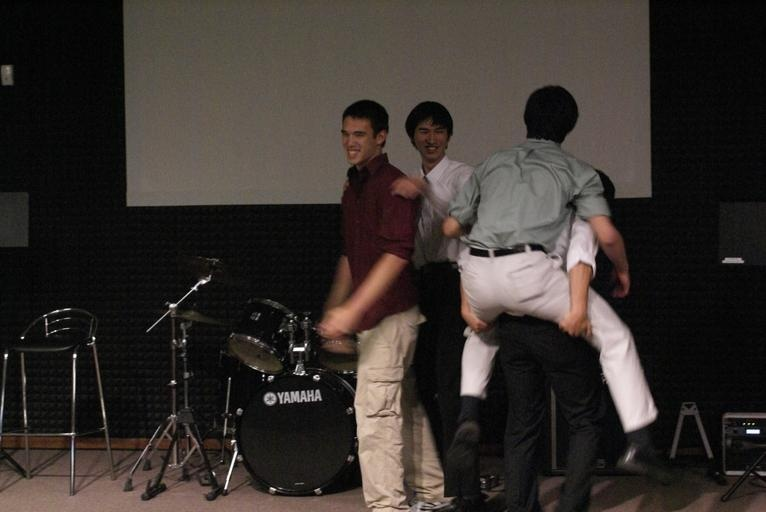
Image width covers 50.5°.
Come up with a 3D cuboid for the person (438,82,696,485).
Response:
[{"bbox_3d":[1.042,0.120,5.237,1.290,2.435,0.438,0,1,3],"label":"person"}]

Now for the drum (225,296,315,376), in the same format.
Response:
[{"bbox_3d":[-0.855,0.611,6.052,0.579,0.576,0.399,0,1,-9],"label":"drum"}]

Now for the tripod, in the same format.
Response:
[{"bbox_3d":[-1.682,0.925,6.534,0.735,1.802,1.124,0,1,-13],"label":"tripod"}]

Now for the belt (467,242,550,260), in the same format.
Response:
[{"bbox_3d":[0.793,-0.035,5.121,0.487,0.085,0.075,0,1,14],"label":"belt"}]

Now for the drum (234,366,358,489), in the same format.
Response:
[{"bbox_3d":[-0.504,1.229,6.440,1.200,1.145,0.810,-4,-2,6],"label":"drum"}]
